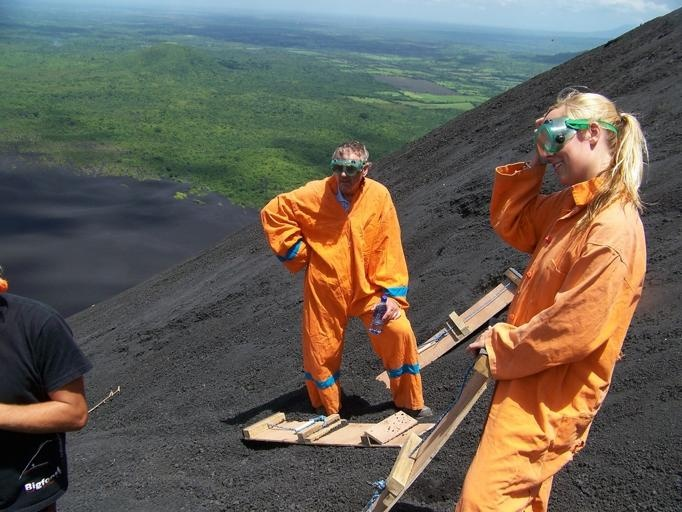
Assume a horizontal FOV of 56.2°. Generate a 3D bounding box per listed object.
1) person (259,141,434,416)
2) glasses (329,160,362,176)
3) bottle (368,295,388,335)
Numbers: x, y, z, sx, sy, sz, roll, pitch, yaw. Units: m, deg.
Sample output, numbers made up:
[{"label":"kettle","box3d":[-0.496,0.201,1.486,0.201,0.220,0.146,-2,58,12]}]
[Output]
[{"label":"person","box3d":[0.044,0.335,5.125,0.872,1.928,1.279,-11,29,-31]},{"label":"glasses","box3d":[0.044,-0.681,4.836,0.252,0.117,0.132,4,22,1]},{"label":"bottle","box3d":[0.283,0.473,4.974,0.113,0.290,0.175,9,25,5]}]
